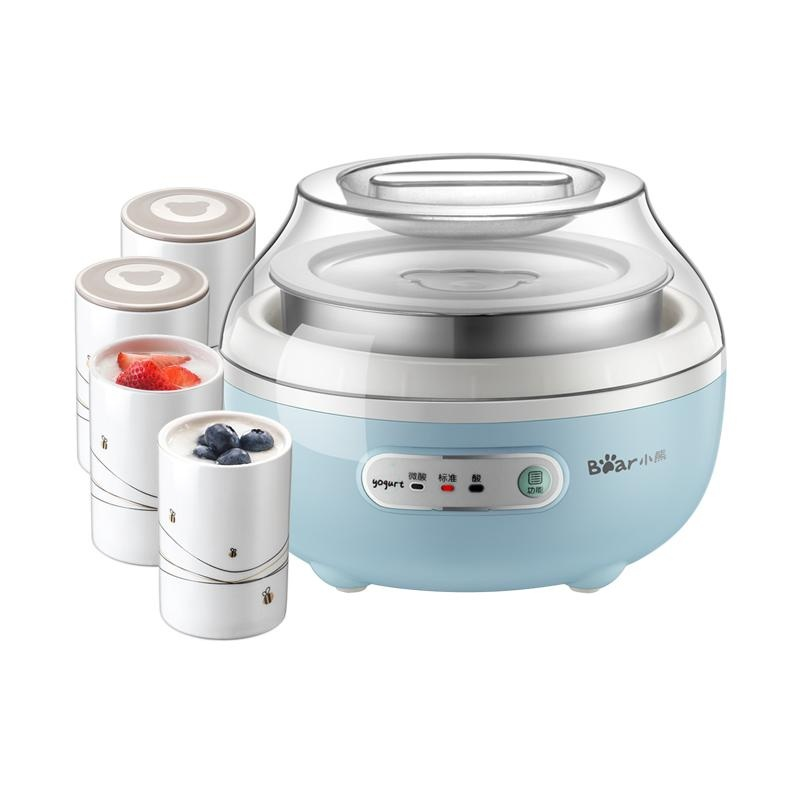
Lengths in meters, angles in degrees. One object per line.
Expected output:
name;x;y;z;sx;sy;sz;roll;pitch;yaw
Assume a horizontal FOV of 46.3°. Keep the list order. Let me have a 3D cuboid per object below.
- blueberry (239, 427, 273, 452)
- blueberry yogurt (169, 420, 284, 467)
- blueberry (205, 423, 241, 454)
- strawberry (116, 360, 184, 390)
blueberry;-0.229;0.066;1.486;0.048;0.016;0.039;-1;31;-4
blueberry yogurt;-0.264;0.071;1.473;0.090;0.025;0.088;-16;26;-42
blueberry;-0.283;0.061;1.474;0.047;0.036;0.056;-17;1;25
strawberry;-0.452;-0.039;1.667;0.086;0.026;0.074;14;24;31
